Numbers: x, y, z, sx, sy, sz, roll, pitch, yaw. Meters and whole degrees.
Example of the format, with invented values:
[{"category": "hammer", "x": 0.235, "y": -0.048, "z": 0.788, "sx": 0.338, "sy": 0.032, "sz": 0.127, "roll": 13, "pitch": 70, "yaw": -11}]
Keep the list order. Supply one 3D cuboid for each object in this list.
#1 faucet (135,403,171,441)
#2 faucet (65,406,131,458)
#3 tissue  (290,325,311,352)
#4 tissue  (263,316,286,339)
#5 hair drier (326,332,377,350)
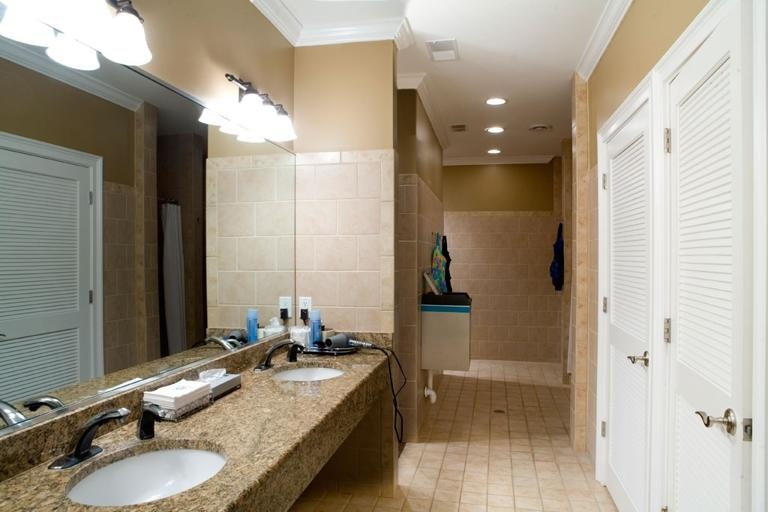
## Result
[{"category": "faucet", "x": -0.954, "y": 0.679, "z": 2.173, "sx": 0.118, "sy": 0.131, "sz": 0.089, "roll": 5, "pitch": -5, "yaw": -22}, {"category": "faucet", "x": -1.098, "y": 0.679, "z": 2.048, "sx": 0.234, "sy": 0.173, "sz": 0.111, "roll": -2, "pitch": 9, "yaw": -32}, {"category": "tissue ", "x": -0.529, "y": 0.529, "z": 3.344, "sx": 0.115, "sy": 0.218, "sz": 0.125, "roll": 1, "pitch": -4, "yaw": 10}, {"category": "tissue ", "x": -0.697, "y": 0.460, "z": 3.352, "sx": 0.071, "sy": 0.106, "sz": 0.120, "roll": -2, "pitch": -8, "yaw": 13}, {"category": "hair drier", "x": -0.211, "y": 0.547, "z": 3.304, "sx": 0.336, "sy": 0.109, "sz": 0.165, "roll": 2, "pitch": 10, "yaw": -8}]
